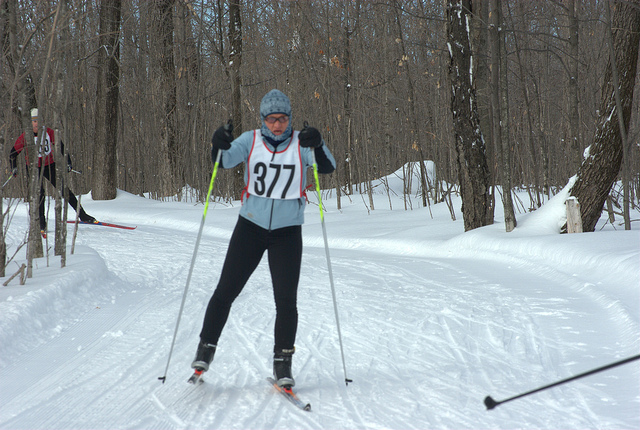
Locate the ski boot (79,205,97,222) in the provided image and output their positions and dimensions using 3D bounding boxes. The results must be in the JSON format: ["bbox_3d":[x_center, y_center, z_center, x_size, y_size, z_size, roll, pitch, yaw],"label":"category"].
[{"bbox_3d":[-5.723,0.073,14.060,0.329,0.279,0.663,0,4,-27],"label":"ski boot"}]

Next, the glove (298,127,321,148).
[{"bbox_3d":[-0.126,-0.894,6.658,0.263,0.241,0.130,1,3,-1],"label":"glove"}]
